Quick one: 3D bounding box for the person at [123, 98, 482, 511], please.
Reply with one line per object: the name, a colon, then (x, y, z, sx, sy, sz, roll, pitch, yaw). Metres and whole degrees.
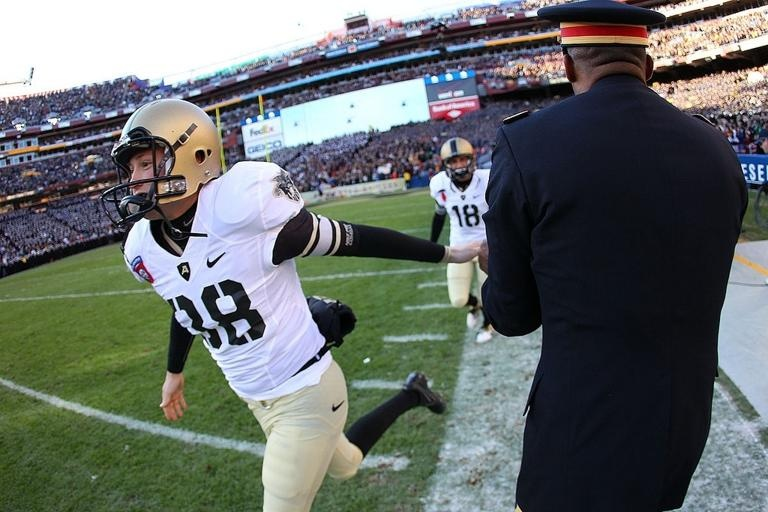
person: (-0.587, 0.196, 2.988, 1.449, 2.060, 0.839, -14, 14, -8)

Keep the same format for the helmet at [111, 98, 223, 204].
helmet: (-1.002, -0.505, 2.975, 0.556, 0.502, 0.432, -18, 3, -38)
